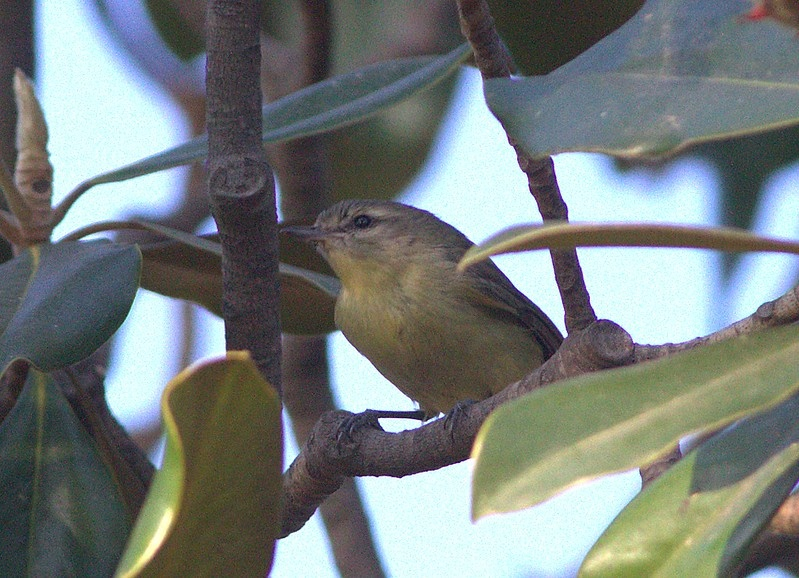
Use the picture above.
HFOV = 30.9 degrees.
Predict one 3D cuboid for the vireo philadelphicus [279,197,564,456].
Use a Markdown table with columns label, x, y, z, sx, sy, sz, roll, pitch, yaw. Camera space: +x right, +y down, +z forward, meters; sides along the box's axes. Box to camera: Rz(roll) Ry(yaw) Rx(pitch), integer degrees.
| label | x | y | z | sx | sy | sz | roll | pitch | yaw |
| --- | --- | --- | --- | --- | --- | --- | --- | --- | --- |
| vireo philadelphicus | 0.068 | 0.010 | 4.844 | 0.885 | 0.967 | 0.513 | 3 | -50 | -7 |
